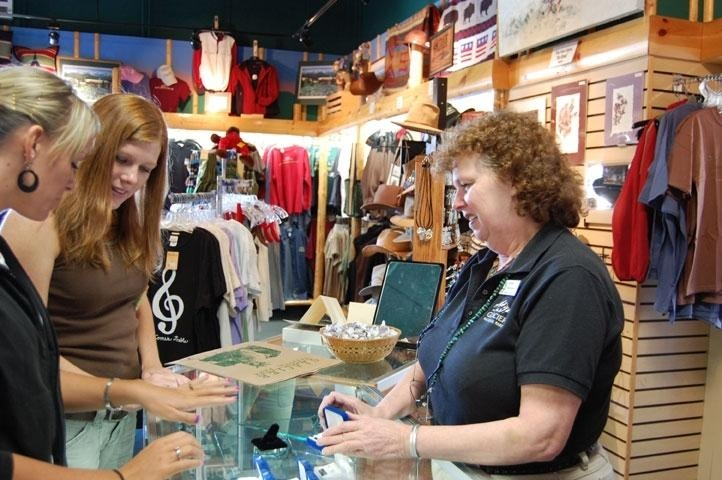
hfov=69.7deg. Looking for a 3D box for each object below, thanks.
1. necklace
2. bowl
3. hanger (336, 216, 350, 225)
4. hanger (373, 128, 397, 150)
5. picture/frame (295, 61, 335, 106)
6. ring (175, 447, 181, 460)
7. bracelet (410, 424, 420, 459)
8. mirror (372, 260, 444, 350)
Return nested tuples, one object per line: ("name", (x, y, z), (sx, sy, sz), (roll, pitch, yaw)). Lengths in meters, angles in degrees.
("necklace", (0.486, 0.262, 2.109), (0.129, 0.117, 1.055), (-1, 31, 34))
("bowl", (0.008, 0.534, 2.713), (0.405, 0.137, 0.394), (0, 3, 0))
("hanger", (-0.261, -0.288, 7.766), (0.135, 0.078, 0.132), (1, -5, 0))
("hanger", (0.321, -1.294, 6.769), (0.269, 0.262, 0.088), (20, -1, 22))
("picture/frame", (-0.698, -2.488, 8.229), (0.909, 0.746, 0.101), (3, -4, 10))
("ring", (-0.580, 0.678, 1.653), (0.025, 0.028, 0.030), (2, 3, -8))
("bracelet", (0.186, 0.687, 1.778), (0.037, 0.101, 0.029), (2, 3, 6))
("mirror", (0.286, 0.381, 3.035), (0.474, 0.619, 0.043), (8, -33, 11))
